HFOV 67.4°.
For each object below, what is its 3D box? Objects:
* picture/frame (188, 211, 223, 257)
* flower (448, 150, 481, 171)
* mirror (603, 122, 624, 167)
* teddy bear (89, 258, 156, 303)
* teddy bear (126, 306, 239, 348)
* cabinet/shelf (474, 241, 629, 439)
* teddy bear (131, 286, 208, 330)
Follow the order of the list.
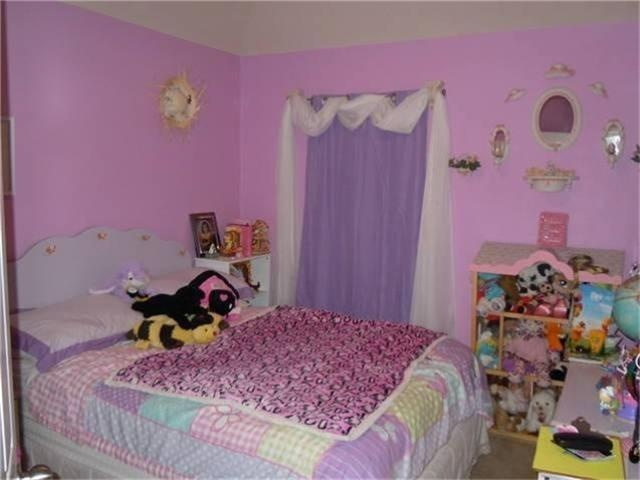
[{"bbox_3d":[-1.207,-0.057,4.972,0.029,0.476,0.395,-10,5,26],"label":"picture/frame"},{"bbox_3d":[1.314,-0.722,4.395,0.209,0.162,0.114,9,-4,22],"label":"flower"},{"bbox_3d":[2.417,-0.797,3.982,0.181,0.432,0.047,15,44,44],"label":"mirror"},{"bbox_3d":[-1.598,0.356,3.988,0.288,0.196,0.409,15,12,9],"label":"teddy bear"},{"bbox_3d":[-1.108,0.688,3.717,0.732,0.302,0.475,2,17,10],"label":"teddy bear"},{"bbox_3d":[1.966,0.867,3.902,0.428,1.446,0.936,-9,5,-42],"label":"cabinet/shelf"},{"bbox_3d":[-1.183,0.524,3.808,0.522,0.289,0.296,2,1,-5],"label":"teddy bear"}]
